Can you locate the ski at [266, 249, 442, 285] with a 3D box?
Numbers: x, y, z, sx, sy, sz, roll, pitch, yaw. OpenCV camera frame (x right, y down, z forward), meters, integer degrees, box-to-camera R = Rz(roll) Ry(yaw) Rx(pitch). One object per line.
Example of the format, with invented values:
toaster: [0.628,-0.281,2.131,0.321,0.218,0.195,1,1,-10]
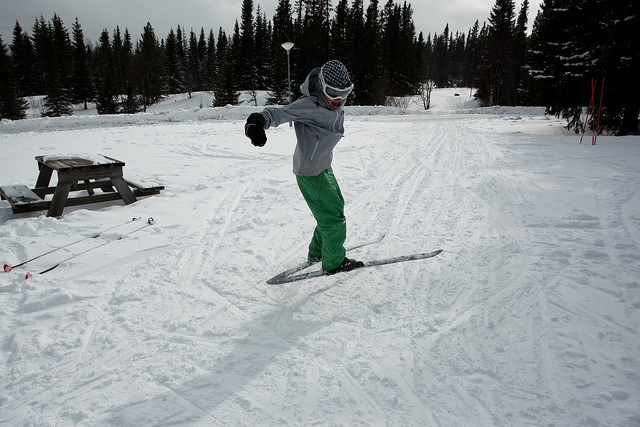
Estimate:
ski: [0.522,0.718,6.124,2.528,0.172,0.205,-6,18,-16]

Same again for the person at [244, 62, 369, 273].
person: [-0.047,-0.503,5.679,1.368,2.713,0.486,-5,18,-12]

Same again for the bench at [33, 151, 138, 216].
bench: [-3.968,-0.356,7.432,1.299,0.602,1.278,-5,25,-28]
